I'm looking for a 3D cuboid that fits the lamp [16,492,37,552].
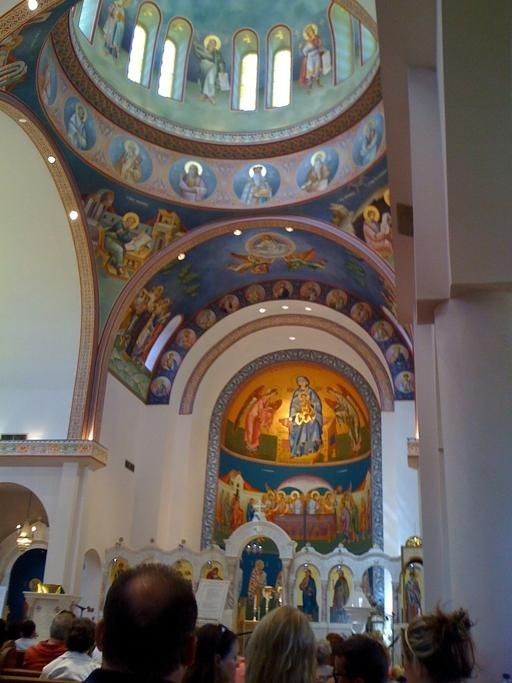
[{"bbox_3d":[-7.347,5.872,17.335,0.606,1.568,1.224,14,-27,-19],"label":"lamp"}]
